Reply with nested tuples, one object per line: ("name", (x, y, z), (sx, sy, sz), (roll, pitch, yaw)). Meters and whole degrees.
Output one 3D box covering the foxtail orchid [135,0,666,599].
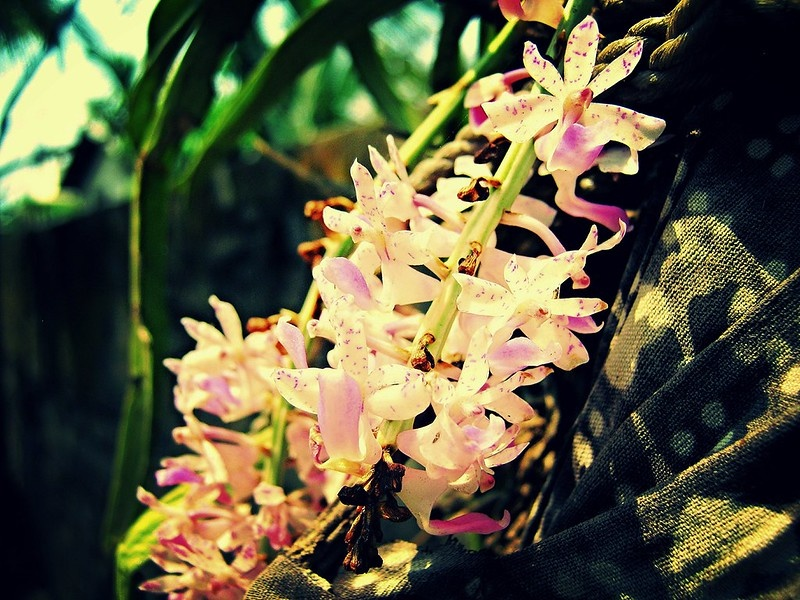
("foxtail orchid", (-0.023, 0.037, 0.893), (0.506, 0.615, 0.363), (-10, 29, -21))
